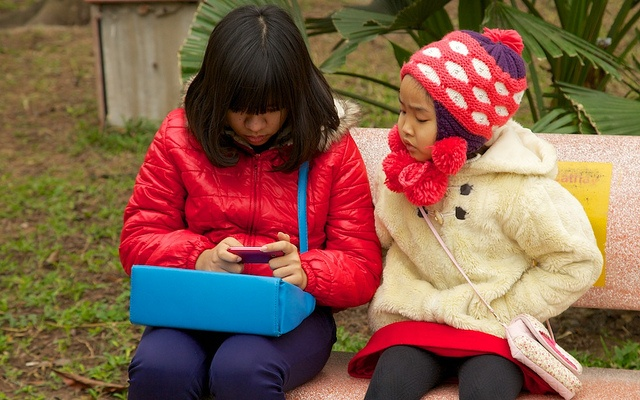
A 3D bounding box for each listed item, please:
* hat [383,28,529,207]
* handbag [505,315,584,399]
[{"bbox_3d":[0.500,-0.483,3.217,0.811,1.054,0.851,1,13,-6],"label":"hat"},{"bbox_3d":[1.038,0.805,2.726,0.387,0.139,0.373,37,9,-27],"label":"handbag"}]
